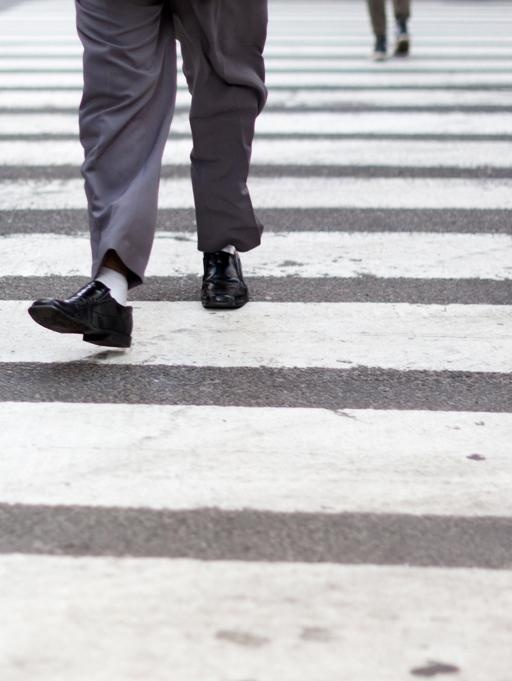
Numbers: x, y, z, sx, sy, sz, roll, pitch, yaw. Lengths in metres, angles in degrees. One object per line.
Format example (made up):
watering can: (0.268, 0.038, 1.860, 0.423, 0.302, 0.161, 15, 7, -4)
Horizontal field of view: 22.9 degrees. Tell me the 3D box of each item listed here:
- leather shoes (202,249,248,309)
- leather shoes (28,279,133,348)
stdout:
leather shoes: (-0.109, -0.191, 3.966, 0.094, 0.098, 0.250, -4, 22, -1)
leather shoes: (-0.425, -0.065, 3.358, 0.121, 0.152, 0.316, -6, -25, 44)
